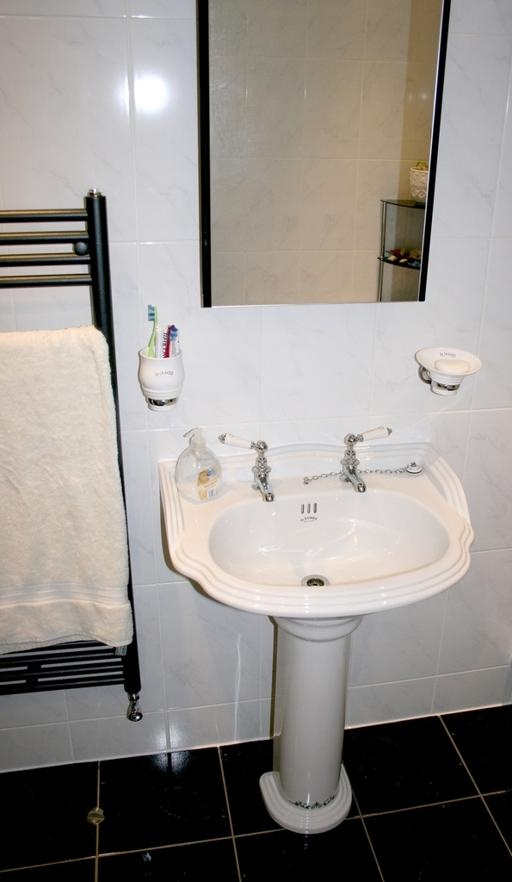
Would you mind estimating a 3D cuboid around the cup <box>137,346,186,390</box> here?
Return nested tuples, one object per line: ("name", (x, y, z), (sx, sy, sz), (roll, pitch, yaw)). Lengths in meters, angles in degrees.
("cup", (-0.166, -0.137, 1.130), (0.063, 0.065, 0.070), (2, 17, -1))

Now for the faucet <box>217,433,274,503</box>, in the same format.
("faucet", (-0.040, 0.047, 1.297), (0.055, 0.140, 0.234), (-5, 18, -19))

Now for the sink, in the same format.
("sink", (0.143, 0.202, 1.222), (0.625, 0.176, 0.504), (-3, 23, -14))

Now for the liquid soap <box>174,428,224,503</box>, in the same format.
("liquid soap", (-0.116, 0.032, 1.286), (0.094, 0.131, 0.145), (0, 22, -5))
